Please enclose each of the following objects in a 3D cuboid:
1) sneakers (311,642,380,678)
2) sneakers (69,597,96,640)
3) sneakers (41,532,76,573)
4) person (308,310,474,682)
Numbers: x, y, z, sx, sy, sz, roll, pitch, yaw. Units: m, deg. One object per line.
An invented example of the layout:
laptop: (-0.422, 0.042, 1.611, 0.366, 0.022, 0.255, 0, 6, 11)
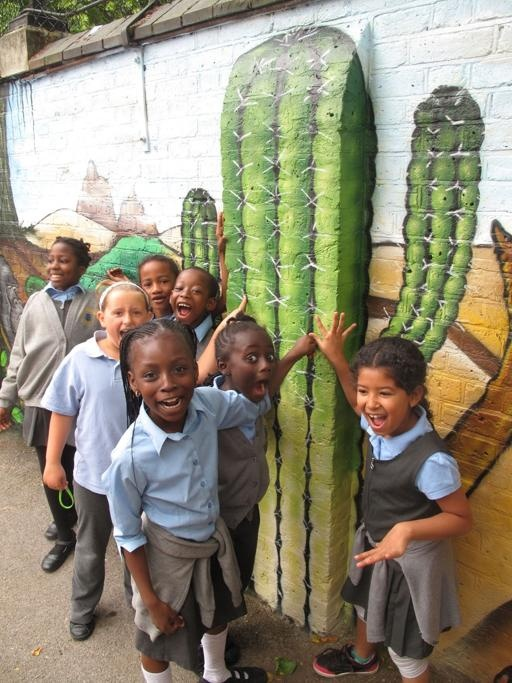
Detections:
sneakers: (0.399, 1.468, 2.568, 0.338, 0.122, 0.120, 2, 13, 3)
sneakers: (-0.890, 1.455, 2.844, 0.085, 0.075, 0.213, 1, -6, -5)
sneakers: (-1.206, 1.299, 3.407, 0.096, 0.096, 0.264, 6, 16, 17)
person: (0.509, 0.784, 2.222, 0.547, 1.650, 0.763, -5, 25, -5)
